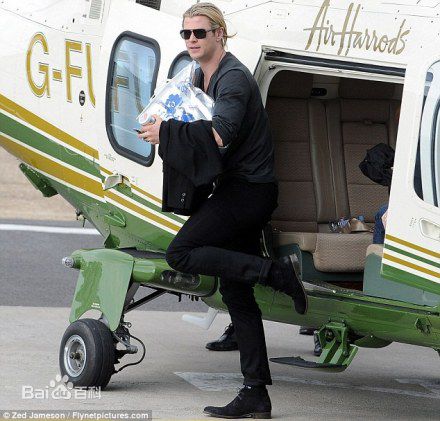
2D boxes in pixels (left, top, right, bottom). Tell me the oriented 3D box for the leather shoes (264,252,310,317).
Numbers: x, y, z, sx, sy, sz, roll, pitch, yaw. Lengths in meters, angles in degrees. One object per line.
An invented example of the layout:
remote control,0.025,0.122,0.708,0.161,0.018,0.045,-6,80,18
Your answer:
leather shoes,0.302,0.345,2.401,0.171,0.349,0.128,-28,24,-13

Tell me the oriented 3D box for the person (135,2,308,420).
person,0.019,-0.028,2.393,0.852,2.056,0.484,13,-12,-35

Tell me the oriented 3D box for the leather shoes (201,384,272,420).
leather shoes,0.111,0.934,2.408,0.401,0.158,0.132,3,-5,2

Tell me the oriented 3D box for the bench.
bench,0.984,-0.206,3.742,1.358,1.088,0.699,-1,24,-32
